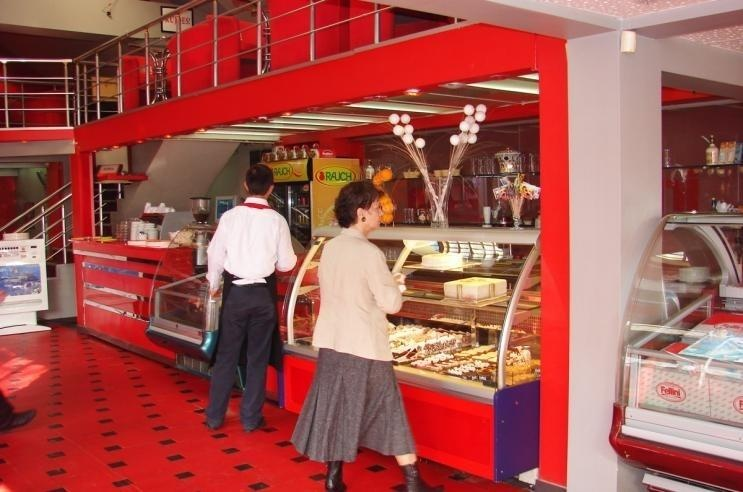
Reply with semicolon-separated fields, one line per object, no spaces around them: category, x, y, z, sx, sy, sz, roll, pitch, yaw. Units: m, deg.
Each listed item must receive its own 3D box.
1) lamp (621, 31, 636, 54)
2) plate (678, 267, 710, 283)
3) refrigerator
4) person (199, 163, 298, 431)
lamp;1.685;-1.327;3.535;0.124;0.136;0.045;-5;7;-25
plate;2.159;0.200;3.610;0.307;0.116;0.047;-5;7;-30
refrigerator;-0.748;-0.578;6.712;0.800;1.408;1.590;-1;4;-28
person;-1.147;0.495;5.097;0.919;2.475;0.390;-3;7;-13
